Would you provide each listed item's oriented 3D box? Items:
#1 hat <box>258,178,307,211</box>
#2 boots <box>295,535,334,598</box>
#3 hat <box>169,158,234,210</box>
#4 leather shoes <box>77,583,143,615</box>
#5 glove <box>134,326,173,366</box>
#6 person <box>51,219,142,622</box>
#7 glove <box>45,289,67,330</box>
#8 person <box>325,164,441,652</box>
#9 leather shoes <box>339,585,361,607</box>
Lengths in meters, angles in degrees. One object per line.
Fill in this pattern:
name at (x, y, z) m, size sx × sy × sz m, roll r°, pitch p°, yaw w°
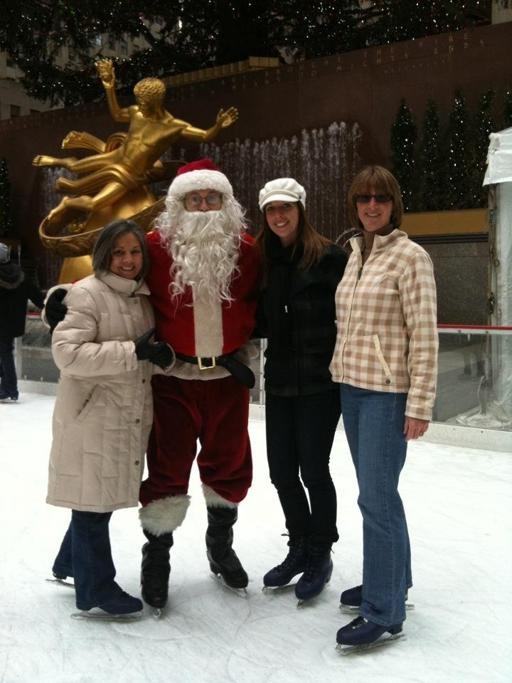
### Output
hat at (0.089, -0.496, 2.179) m, size 0.117 × 0.066 × 0.149 m, roll -2°, pitch -6°, yaw 15°
boots at (0.192, 0.738, 2.136) m, size 0.089 × 0.142 × 0.222 m, roll 0°, pitch -2°, yaw 21°
hat at (-0.205, -0.540, 2.270) m, size 0.218 × 0.117 × 0.158 m, roll -3°, pitch 7°, yaw -26°
leather shoes at (-0.428, 0.793, 2.056) m, size 0.240 × 0.091 × 0.081 m, roll -1°, pitch 2°, yaw -8°
glove at (-0.307, 0.016, 2.048) m, size 0.122 × 0.040 × 0.115 m, roll 12°, pitch -35°, yaw -32°
person at (-0.479, 0.230, 2.076) m, size 0.328 × 1.216 × 0.299 m, roll -2°, pitch 5°, yaw -7°
glove at (-0.603, -0.097, 2.044) m, size 0.076 × 0.117 × 0.089 m, roll 2°, pitch -35°, yaw -5°
person at (0.358, 0.170, 1.895) m, size 0.280 × 1.339 × 0.342 m, roll -1°, pitch 5°, yaw 6°
leather shoes at (0.296, 0.797, 2.070) m, size 0.068 × 0.052 × 0.175 m, roll -1°, pitch -11°, yaw 8°
